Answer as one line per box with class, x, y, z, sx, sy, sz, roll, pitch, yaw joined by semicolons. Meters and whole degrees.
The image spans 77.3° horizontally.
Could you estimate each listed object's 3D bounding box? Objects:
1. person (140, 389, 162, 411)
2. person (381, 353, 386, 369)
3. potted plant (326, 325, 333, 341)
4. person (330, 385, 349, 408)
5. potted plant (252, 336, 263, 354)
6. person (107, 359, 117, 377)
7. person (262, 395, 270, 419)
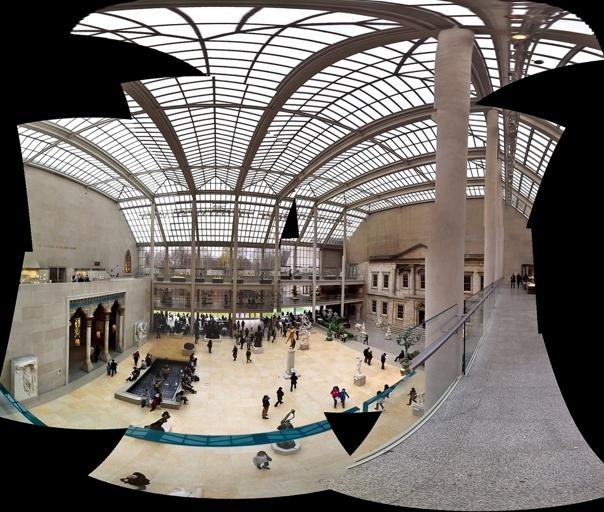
person;-6.995;6.669;17.458;0.778;0.671;1.353;3;-2;-30
person;5.469;7.121;25.529;0.259;0.999;1.052;1;-2;10
potted plant;2.552;7.355;35.226;0.605;1.007;1.486;2;-2;4
person;1.799;6.886;18.417;0.669;0.899;1.164;1;-2;12
potted plant;-3.491;7.083;29.627;0.879;1.621;0.841;-1;2;-7
person;-11.206;6.667;22.254;0.523;0.738;1.159;3;-2;-27
person;-1.601;6.531;16.459;0.254;0.987;0.817;2;-2;-7
